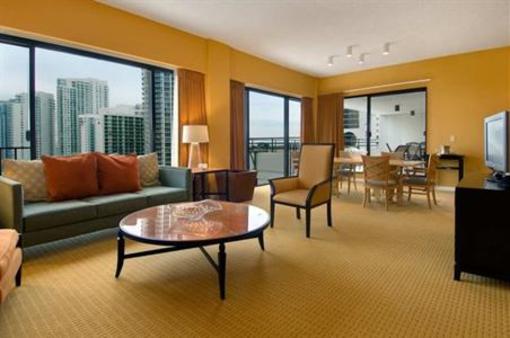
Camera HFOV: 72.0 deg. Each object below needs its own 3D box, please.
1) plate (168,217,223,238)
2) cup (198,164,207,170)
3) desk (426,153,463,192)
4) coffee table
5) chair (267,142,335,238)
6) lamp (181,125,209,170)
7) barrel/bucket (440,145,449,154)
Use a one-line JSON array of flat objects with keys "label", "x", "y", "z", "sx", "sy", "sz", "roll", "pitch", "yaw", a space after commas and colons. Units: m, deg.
[{"label": "plate", "x": -0.620, "y": 0.627, "z": 3.712, "sx": 0.546, "sy": 0.092, "sz": 0.512, "roll": -1, "pitch": 6, "yaw": -5}, {"label": "cup", "x": -0.928, "y": -0.042, "z": 6.179, "sx": 0.116, "sy": 0.071, "sz": 0.110, "roll": -3, "pitch": 6, "yaw": 0}, {"label": "desk", "x": 4.124, "y": 0.090, "z": 7.702, "sx": 0.700, "sy": 0.604, "sz": 0.530, "roll": -4, "pitch": -26, "yaw": 27}, {"label": "coffee table", "x": -0.656, "y": 0.633, "z": 3.766, "sx": 1.230, "sy": 0.507, "sz": 1.275, "roll": 4, "pitch": 6, "yaw": 41}, {"label": "chair", "x": 0.666, "y": 0.261, "z": 5.081, "sx": 0.727, "sy": 1.248, "sz": 0.741, "roll": 5, "pitch": 8, "yaw": 36}, {"label": "lamp", "x": -1.084, "y": -0.408, "z": 6.305, "sx": 0.444, "sy": 0.754, "sz": 0.518, "roll": -2, "pitch": 7, "yaw": -12}, {"label": "barrel/bucket", "x": 4.085, "y": -0.409, "z": 7.560, "sx": 0.216, "sy": 0.171, "sz": 0.161, "roll": 0, "pitch": -1, "yaw": 14}]
